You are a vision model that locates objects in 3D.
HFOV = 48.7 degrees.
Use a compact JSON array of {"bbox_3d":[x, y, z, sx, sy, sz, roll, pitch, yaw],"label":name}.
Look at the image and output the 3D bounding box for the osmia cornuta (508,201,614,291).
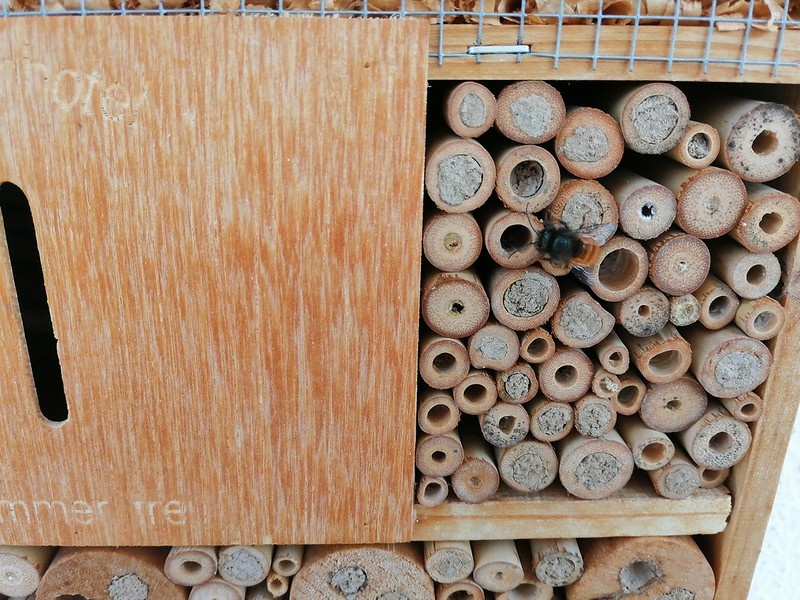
[{"bbox_3d":[0.381,-0.126,2.035,0.185,0.070,0.153,20,-76,5],"label":"osmia cornuta"}]
